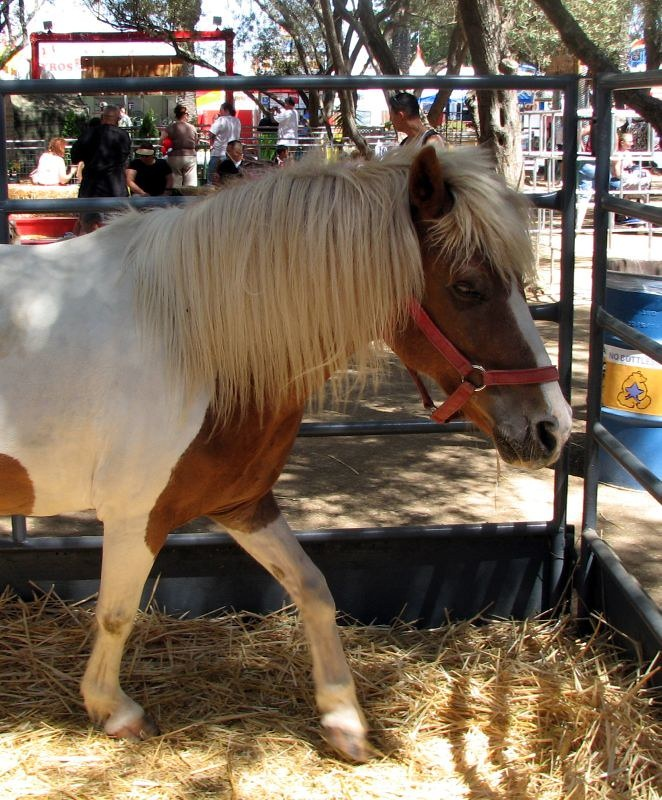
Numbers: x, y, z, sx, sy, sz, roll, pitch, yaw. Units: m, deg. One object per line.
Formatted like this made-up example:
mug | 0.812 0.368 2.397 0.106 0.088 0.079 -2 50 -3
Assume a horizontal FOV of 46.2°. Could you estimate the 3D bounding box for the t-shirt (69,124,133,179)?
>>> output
t-shirt | -1.899 -2.089 6.519 0.512 0.436 0.261 -5 47 -24
